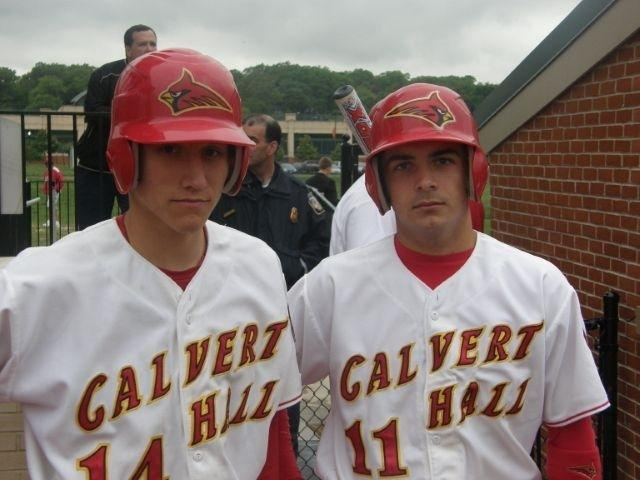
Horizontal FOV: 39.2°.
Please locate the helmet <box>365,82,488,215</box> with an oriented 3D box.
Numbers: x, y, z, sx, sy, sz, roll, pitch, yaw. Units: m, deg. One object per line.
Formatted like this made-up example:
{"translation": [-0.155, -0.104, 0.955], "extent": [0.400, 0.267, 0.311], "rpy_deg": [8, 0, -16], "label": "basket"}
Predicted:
{"translation": [0.484, -0.440, 4.268], "extent": [0.405, 0.562, 0.621], "rpy_deg": [-4, -5, 9], "label": "helmet"}
